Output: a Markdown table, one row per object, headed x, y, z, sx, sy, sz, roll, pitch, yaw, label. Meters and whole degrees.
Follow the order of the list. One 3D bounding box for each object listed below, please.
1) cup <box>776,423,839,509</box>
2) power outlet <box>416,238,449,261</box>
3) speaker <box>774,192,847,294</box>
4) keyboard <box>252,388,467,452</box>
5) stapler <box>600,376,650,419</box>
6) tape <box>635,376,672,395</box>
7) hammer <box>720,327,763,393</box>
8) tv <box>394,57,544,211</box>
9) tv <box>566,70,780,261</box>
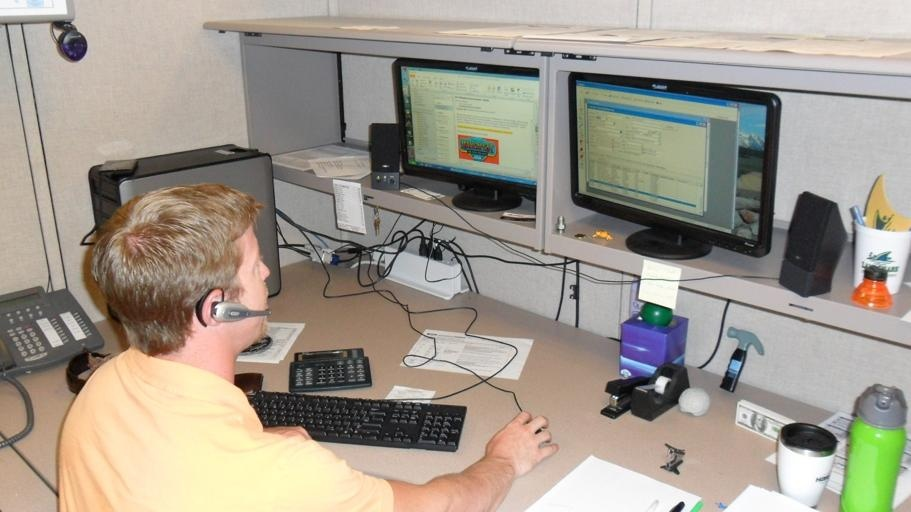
| x | y | z | sx | sy | sz | roll | pitch | yaw | label |
| --- | --- | --- | --- | --- | --- | --- | --- | --- | --- |
| 1.016 | 0.614 | 1.979 | 0.206 | 0.209 | 0.172 | 3 | 13 | 13 | cup |
| -0.104 | -0.029 | 2.875 | 0.056 | 0.083 | 0.181 | -6 | 19 | -40 | power outlet |
| 1.054 | -0.033 | 1.913 | 0.146 | 0.273 | 0.192 | 13 | 28 | 27 | speaker |
| -0.298 | 0.545 | 2.171 | 0.697 | 0.067 | 0.179 | 2 | 36 | 6 | keyboard |
| 0.580 | 0.468 | 2.266 | 0.078 | 0.090 | 0.289 | 13 | 22 | 40 | stapler |
| 0.681 | 0.437 | 2.196 | 0.137 | 0.051 | 0.049 | -16 | 41 | -19 | tape |
| 0.995 | 0.364 | 2.326 | 0.121 | 0.232 | 0.115 | 3 | 0 | -11 | hammer |
| 0.065 | -0.453 | 2.382 | 0.605 | 0.382 | 0.187 | 16 | 33 | 33 | tv |
| 0.669 | -0.303 | 2.080 | 0.697 | 0.515 | 0.087 | 15 | 30 | 33 | tv |
